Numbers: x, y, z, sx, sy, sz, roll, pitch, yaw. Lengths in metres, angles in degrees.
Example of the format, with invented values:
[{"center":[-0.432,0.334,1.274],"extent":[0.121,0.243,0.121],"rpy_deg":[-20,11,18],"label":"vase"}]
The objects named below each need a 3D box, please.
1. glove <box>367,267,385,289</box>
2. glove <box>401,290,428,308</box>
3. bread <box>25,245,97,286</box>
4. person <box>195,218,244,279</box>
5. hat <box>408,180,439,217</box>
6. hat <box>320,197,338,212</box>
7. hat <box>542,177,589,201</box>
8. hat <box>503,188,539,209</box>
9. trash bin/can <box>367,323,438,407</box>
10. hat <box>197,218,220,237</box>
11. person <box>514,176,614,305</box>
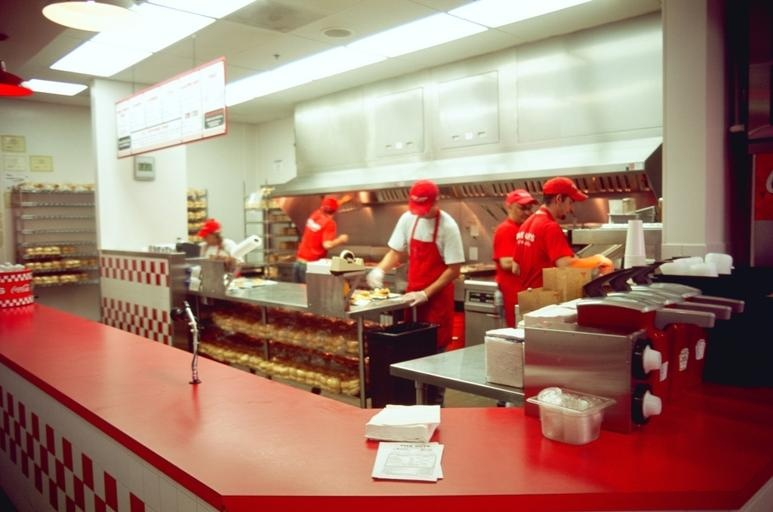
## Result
[{"center":[-0.086,0.192,4.890],"extent":[0.196,0.164,0.144],"rpy_deg":[-8,6,3],"label":"glove"},{"center":[0.230,0.339,4.573],"extent":[0.175,0.118,0.076],"rpy_deg":[-13,-20,5],"label":"glove"},{"center":[-4.749,0.133,8.294],"extent":[1.090,0.632,0.598],"rpy_deg":[0,-1,-28],"label":"bread"},{"center":[-1.795,-0.119,6.077],"extent":[0.327,0.543,0.992],"rpy_deg":[-8,6,-21],"label":"person"},{"center":[0.304,-0.475,4.642],"extent":[0.226,0.300,0.200],"rpy_deg":[-5,5,2],"label":"hat"},{"center":[-0.721,-0.662,7.067],"extent":[0.179,0.186,0.211],"rpy_deg":[10,27,22],"label":"hat"},{"center":[1.457,-0.526,4.540],"extent":[0.376,0.179,0.218],"rpy_deg":[-1,11,2],"label":"hat"},{"center":[1.217,-0.535,5.213],"extent":[0.177,0.114,0.240],"rpy_deg":[-1,3,-32],"label":"hat"},{"center":[0.113,0.829,4.295],"extent":[0.583,0.603,0.305],"rpy_deg":[-5,5,1],"label":"trash bin/can"},{"center":[-2.000,-0.329,6.257],"extent":[0.279,0.136,0.198],"rpy_deg":[11,20,28],"label":"hat"},{"center":[1.311,-0.155,4.394],"extent":[0.484,0.914,0.999],"rpy_deg":[-6,5,-3],"label":"person"}]
